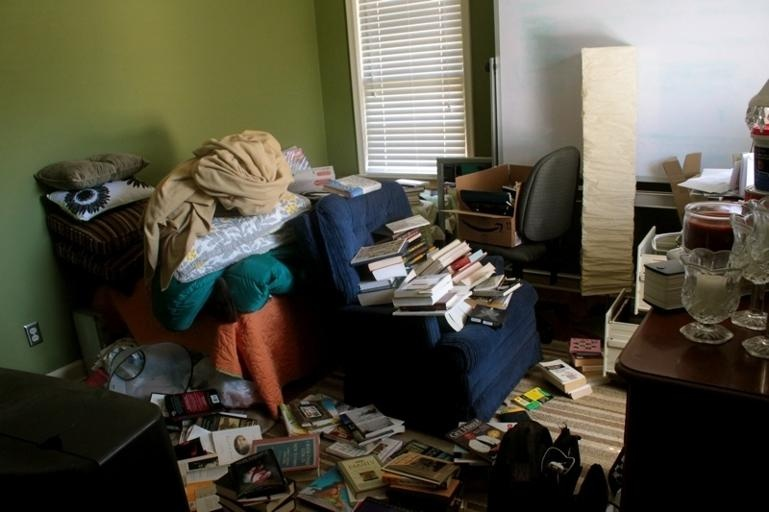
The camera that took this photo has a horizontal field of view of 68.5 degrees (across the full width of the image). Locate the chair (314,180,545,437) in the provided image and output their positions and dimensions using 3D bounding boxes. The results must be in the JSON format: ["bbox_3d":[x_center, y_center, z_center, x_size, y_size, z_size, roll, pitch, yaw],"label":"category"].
[{"bbox_3d":[0.319,0.202,3.506,1.160,1.149,1.314,12,24,39],"label":"chair"}]

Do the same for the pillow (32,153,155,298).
[{"bbox_3d":[-1.737,-0.179,3.465,0.653,0.840,0.583,-12,16,-21],"label":"pillow"}]

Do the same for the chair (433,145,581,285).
[{"bbox_3d":[0.976,-0.459,4.106,1.141,1.066,0.929,-18,25,-41],"label":"chair"}]

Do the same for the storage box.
[{"bbox_3d":[0.778,-0.364,3.899,0.361,0.444,0.686,9,24,28],"label":"storage box"}]

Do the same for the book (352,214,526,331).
[{"bbox_3d":[0.290,0.120,3.189,0.812,0.261,0.628,10,27,34],"label":"book"}]
